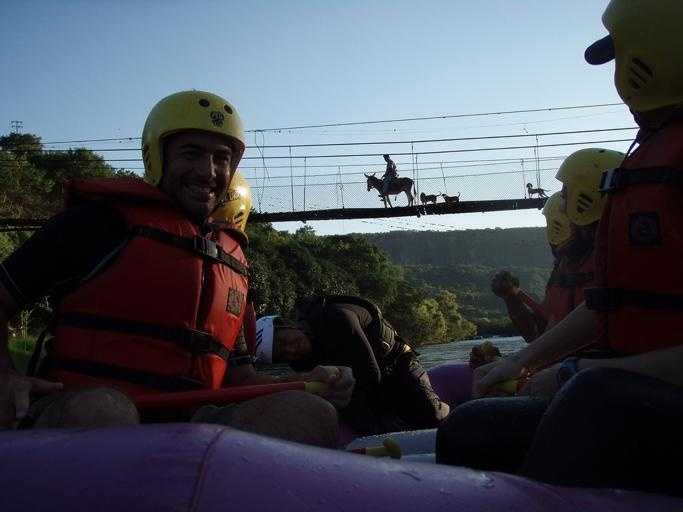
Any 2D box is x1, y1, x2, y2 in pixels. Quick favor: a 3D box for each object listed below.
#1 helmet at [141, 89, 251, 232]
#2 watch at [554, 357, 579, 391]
[{"bbox_3d":[-0.702,-0.437,2.745,0.412,0.498,0.566,6,-21,-20],"label":"helmet"},{"bbox_3d":[0.764,0.403,2.019,0.081,0.067,0.098,13,-41,-7],"label":"watch"}]
